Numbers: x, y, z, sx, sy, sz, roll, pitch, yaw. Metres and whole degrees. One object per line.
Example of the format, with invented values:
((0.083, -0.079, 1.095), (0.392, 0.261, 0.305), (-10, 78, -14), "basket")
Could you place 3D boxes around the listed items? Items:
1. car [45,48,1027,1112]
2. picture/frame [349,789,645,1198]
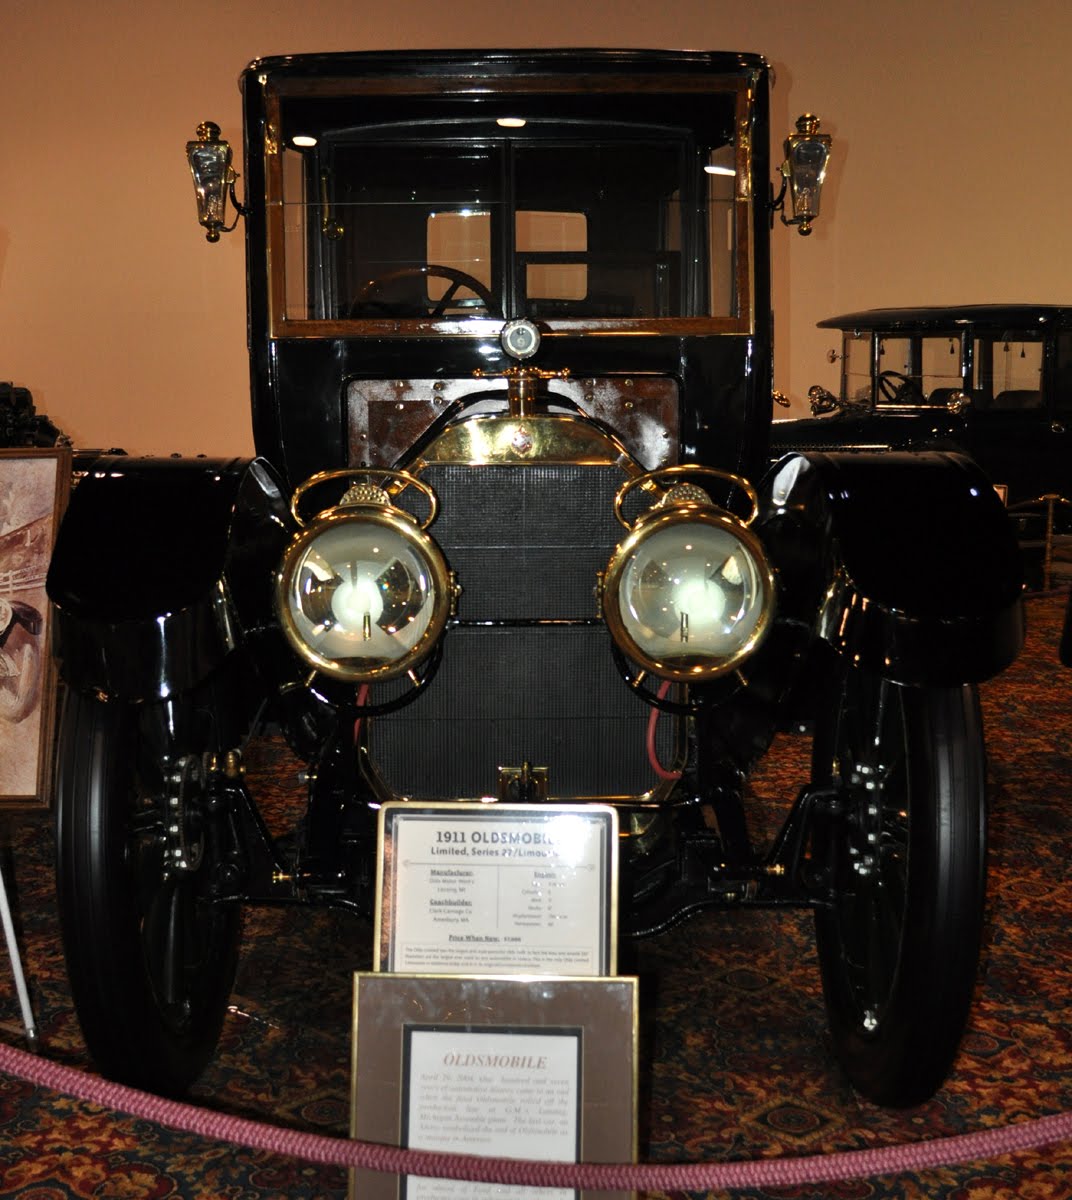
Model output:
((-0.016, -0.148, 1.919), (1.371, 1.693, 0.953), (0, 6, 0), "car")
((-0.052, 0.480, 1.372), (0.338, 0.422, 0.271), (0, 6, 3), "picture/frame")
